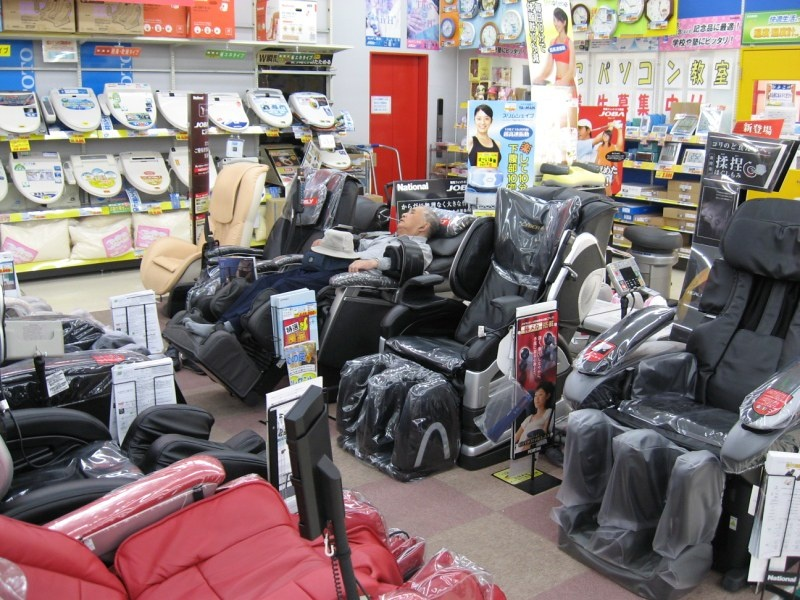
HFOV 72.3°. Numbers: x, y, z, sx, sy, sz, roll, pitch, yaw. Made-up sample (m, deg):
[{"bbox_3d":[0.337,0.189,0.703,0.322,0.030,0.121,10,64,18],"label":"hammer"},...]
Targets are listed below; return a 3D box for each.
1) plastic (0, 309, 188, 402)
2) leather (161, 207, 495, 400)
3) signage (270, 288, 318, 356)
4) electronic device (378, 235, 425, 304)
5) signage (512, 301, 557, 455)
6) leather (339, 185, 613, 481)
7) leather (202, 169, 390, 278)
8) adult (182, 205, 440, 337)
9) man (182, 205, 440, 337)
[{"bbox_3d":[-1.944,0.207,3.414,0.760,0.277,0.732,-2,22,-38],"label":"plastic"},{"bbox_3d":[-0.574,0.041,4.031,1.853,1.117,1.401,-13,12,-32],"label":"leather"},{"bbox_3d":[-0.565,0.123,3.009,0.268,0.360,0.181,-10,22,-25],"label":"signage"},{"bbox_3d":[0.015,-0.195,3.834,0.297,0.545,0.402,-6,11,-33],"label":"electronic device"},{"bbox_3d":[0.727,0.418,2.956,0.360,0.816,0.136,-16,26,-37],"label":"signage"},{"bbox_3d":[0.433,0.015,4.065,2.152,1.759,1.328,-11,16,-34],"label":"leather"},{"bbox_3d":[-1.036,-0.790,4.904,1.305,1.218,0.900,4,22,-41],"label":"leather"},{"bbox_3d":[-0.546,-0.192,4.059,1.956,0.716,0.957,-16,26,-28],"label":"adult"},{"bbox_3d":[-0.627,-0.203,4.039,1.773,0.670,0.896,-17,14,-18],"label":"man"}]
